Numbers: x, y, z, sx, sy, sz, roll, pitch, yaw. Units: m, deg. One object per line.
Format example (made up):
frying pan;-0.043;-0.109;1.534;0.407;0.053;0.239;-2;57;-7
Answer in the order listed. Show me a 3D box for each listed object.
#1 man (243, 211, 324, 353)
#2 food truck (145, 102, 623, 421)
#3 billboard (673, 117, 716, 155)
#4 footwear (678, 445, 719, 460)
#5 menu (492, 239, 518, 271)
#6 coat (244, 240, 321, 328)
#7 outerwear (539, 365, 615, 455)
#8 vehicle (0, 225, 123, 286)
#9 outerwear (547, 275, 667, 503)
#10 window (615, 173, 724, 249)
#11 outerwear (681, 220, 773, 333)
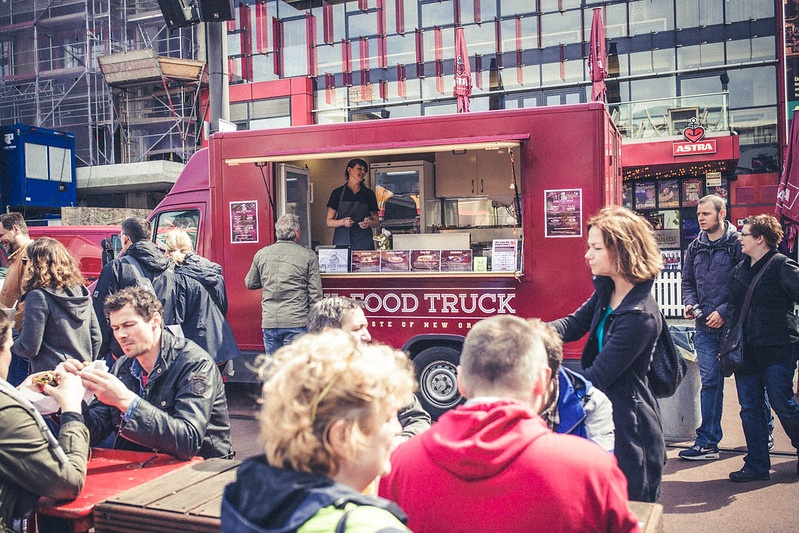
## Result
man;-2.068;0.707;18.985;1.376;3.383;1.008;6;18;11
food truck;-0.630;0.102;21.562;10.003;5.493;5.328;-3;1;24
billboard;7.488;-3.294;26.730;0.926;0.874;0.077;-1;-8;18
footwear;4.969;3.087;17.653;0.665;0.318;0.258;1;-6;4
menu;1.808;-0.199;18.252;0.453;0.540;0.217;-1;1;5
coat;-2.012;0.297;18.381;1.436;1.595;0.887;1;4;12
outerwear;2.435;2.017;14.685;1.259;1.306;0.714;-3;0;41
vehicle;-6.843;-0.358;22.227;2.064;1.165;1.373;-1;3;5
outerwear;3.077;1.940;15.811;2.035;3.566;1.435;-5;16;-9
window;6.161;-1.304;23.698;2.069;2.175;0.100;-1;4;9
outerwear;5.232;0.221;17.762;1.212;1.830;0.962;6;9;45
